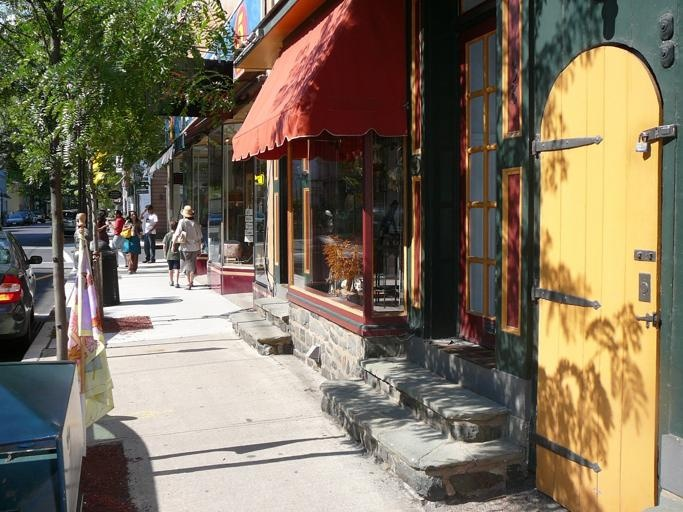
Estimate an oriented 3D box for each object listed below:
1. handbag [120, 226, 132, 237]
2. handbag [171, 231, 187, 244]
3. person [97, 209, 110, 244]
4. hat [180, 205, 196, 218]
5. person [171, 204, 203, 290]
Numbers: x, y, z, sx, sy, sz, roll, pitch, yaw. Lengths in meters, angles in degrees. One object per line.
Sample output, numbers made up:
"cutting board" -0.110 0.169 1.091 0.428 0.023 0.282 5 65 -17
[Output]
"handbag" -6.534 -0.718 19.514 0.230 0.383 0.341 0 7 -23
"handbag" -4.084 -0.435 16.323 0.235 0.427 0.194 5 -4 -2
"person" -6.094 -0.765 16.474 0.187 0.768 1.474 -2 5 -19
"hat" -3.883 -1.094 16.268 0.238 0.301 0.941 -2 5 -16
"person" -3.957 -0.185 16.530 0.751 2.160 1.358 -1 5 -15
